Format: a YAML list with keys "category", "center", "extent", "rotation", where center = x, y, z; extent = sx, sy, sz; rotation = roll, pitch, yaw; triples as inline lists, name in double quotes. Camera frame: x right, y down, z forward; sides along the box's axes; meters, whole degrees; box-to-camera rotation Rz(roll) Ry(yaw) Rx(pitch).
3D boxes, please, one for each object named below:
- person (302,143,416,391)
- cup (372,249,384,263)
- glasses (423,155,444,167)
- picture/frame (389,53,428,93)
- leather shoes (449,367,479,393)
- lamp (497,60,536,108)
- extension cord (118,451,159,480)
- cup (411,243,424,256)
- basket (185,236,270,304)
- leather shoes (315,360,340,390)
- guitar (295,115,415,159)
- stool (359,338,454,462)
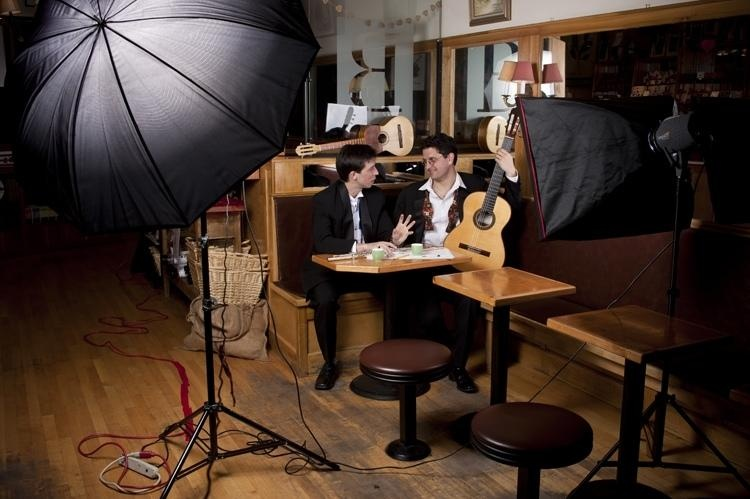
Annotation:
- category: "person"
  center: [-0.138, 0.072, 4.302]
  extent: [0.917, 1.640, 0.907]
  rotation: [-5, 21, -24]
- category: "cup"
  center: [0.021, 0.042, 3.622]
  extent: [0.079, 0.059, 0.067]
  rotation: [-1, 8, 3]
- category: "glasses"
  center: [0.424, -0.659, 4.212]
  extent: [0.165, 0.090, 0.059]
  rotation: [8, 17, 28]
- category: "picture/frame"
  center: [0.345, -1.951, 6.198]
  extent: [0.423, 0.439, 0.042]
  rotation: [-1, 5, -18]
- category: "leather shoes"
  center: [0.615, 0.913, 4.016]
  extent: [0.097, 0.105, 0.253]
  rotation: [-6, 4, -25]
- category: "lamp"
  center: [1.434, -1.723, 5.883]
  extent: [0.328, 0.466, 0.960]
  rotation: [1, 16, 7]
- category: "extension cord"
  center: [-1.285, 1.217, 3.153]
  extent: [0.179, 0.056, 0.131]
  rotation: [13, 7, 16]
- category: "cup"
  center: [0.278, -0.003, 3.742]
  extent: [0.073, 0.081, 0.065]
  rotation: [-1, 15, -3]
- category: "basket"
  center: [-1.219, 0.160, 4.645]
  extent: [0.435, 0.367, 0.571]
  rotation: [-3, 6, -29]
- category: "leather shoes"
  center: [-0.341, 0.901, 4.074]
  extent: [0.086, 0.103, 0.260]
  rotation: [7, 5, 9]
- category: "guitar"
  center: [-0.172, -0.962, 5.026]
  extent: [1.104, 0.437, 0.164]
  rotation: [-12, 14, -22]
- category: "stool"
  center: [0.178, 0.868, 3.342]
  extent: [0.522, 0.596, 0.364]
  rotation: [-1, 15, -3]
